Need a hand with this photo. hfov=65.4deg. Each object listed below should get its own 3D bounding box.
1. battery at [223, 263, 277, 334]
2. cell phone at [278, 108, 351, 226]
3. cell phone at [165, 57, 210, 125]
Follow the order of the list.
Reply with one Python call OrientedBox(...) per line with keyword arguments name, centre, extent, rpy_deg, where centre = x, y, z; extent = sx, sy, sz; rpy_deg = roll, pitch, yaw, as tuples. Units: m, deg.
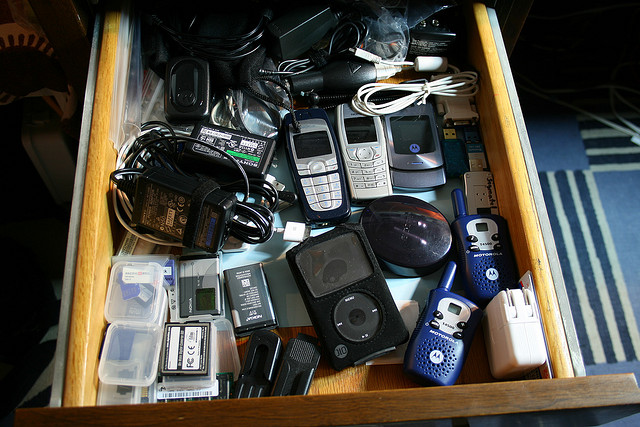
OrientedBox(name="battery", centre=(-0.183, 0.219, 1.299), extent=(0.116, 0.042, 0.179), rpy_deg=(-12, 68, -13))
OrientedBox(name="cell phone", centre=(-0.006, -0.130, 1.390), extent=(0.154, 0.087, 0.354), rpy_deg=(-15, 78, -2))
OrientedBox(name="cell phone", centre=(-0.376, -0.352, 1.423), extent=(0.118, 0.144, 0.117), rpy_deg=(-4, 36, 1))
